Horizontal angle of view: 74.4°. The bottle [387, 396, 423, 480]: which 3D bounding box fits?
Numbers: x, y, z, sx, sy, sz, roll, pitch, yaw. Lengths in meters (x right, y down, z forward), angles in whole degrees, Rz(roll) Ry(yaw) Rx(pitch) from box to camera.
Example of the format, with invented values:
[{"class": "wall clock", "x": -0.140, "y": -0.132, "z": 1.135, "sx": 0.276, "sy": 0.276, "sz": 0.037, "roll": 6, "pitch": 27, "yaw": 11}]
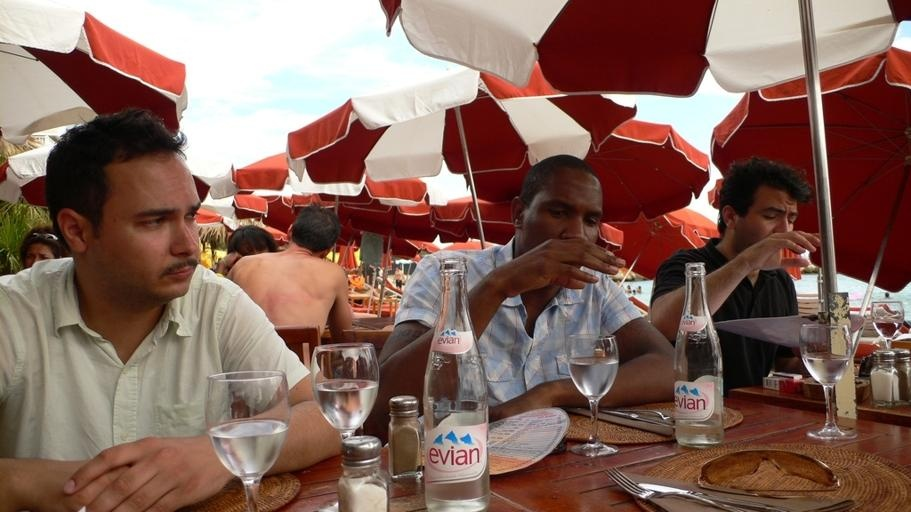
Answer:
[{"class": "bottle", "x": -0.191, "y": 0.690, "z": 2.284, "sx": 0.131, "sy": 0.317, "sz": 0.103, "roll": -3, "pitch": 14, "yaw": -5}]
